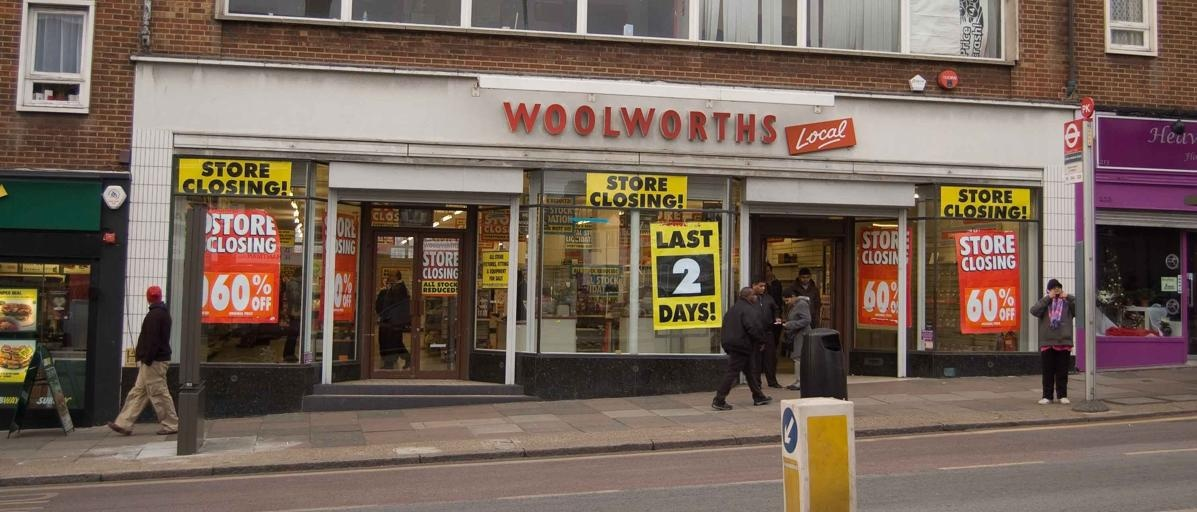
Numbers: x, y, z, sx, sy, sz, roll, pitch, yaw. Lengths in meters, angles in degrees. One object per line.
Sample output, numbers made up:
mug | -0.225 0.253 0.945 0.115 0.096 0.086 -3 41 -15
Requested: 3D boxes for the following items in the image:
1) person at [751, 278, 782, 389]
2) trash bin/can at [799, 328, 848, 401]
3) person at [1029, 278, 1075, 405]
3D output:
person | 5.237 2.496 36.095 1.020 3.204 1.113 -1 0 -40
trash bin/can | 6.381 3.011 33.189 1.228 1.978 1.301 -1 0 -37
person | 13.575 2.549 34.403 1.254 3.662 0.643 -1 -4 -2
